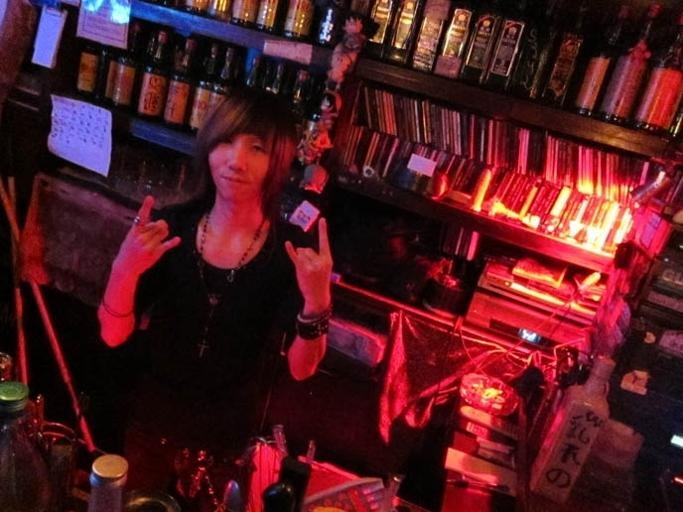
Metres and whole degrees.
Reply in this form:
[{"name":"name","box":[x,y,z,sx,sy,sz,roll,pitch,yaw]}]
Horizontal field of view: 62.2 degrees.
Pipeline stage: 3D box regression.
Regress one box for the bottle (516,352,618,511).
[{"name":"bottle","box":[0.683,0.512,1.656,0.155,0.321,0.275,21,16,24]}]

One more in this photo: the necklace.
[{"name":"necklace","box":[-0.425,0.012,2.029,0.233,0.318,0.133,12,14,-9]}]

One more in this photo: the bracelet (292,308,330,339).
[{"name":"bracelet","box":[-0.106,0.222,1.947,0.115,0.083,0.129,7,18,17]}]

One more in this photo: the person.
[{"name":"person","box":[-0.485,0.081,2.082,0.722,1.382,0.387,9,15,-22]}]

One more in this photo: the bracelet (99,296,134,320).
[{"name":"bracelet","box":[-0.779,0.187,1.959,0.079,0.019,0.078,28,9,0]}]
